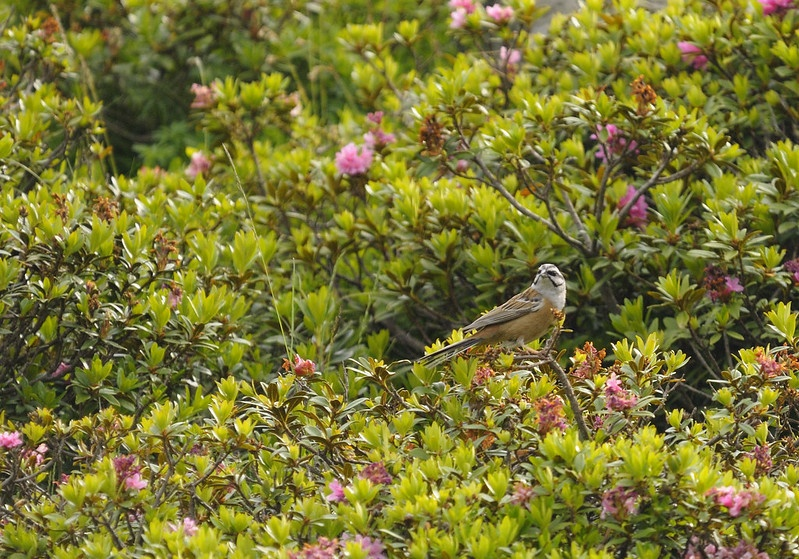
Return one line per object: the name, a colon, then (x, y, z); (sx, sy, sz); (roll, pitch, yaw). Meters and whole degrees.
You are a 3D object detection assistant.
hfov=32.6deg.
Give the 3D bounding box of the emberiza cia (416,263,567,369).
emberiza cia: (0.669, 0.349, 9.070); (1.182, 0.582, 0.309); (-31, 57, -31)
